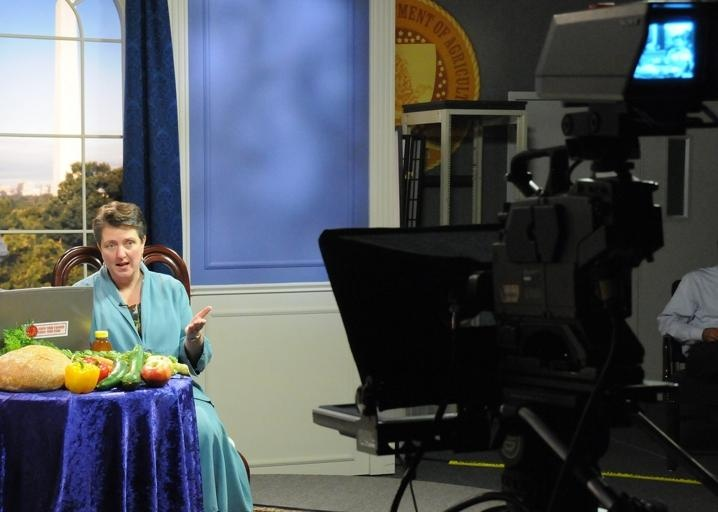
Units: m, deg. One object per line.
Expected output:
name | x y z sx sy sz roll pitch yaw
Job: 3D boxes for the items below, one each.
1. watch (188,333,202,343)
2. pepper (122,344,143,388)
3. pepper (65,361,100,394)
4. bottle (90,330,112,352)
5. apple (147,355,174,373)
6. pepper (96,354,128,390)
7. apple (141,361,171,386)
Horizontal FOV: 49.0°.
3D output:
watch | -0.834 0.414 3.953 0.051 0.027 0.038 -11 7 -35
pepper | -0.987 0.467 3.404 0.052 0.052 0.188 17 30 -12
pepper | -1.165 0.501 3.323 0.129 0.158 0.127 3 2 -4
bottle | -1.212 0.396 3.664 0.089 0.164 0.090 1 -1 0
apple | -0.893 0.465 3.462 0.078 0.074 0.079 3 7 -3
pepper | -1.067 0.501 3.373 0.093 0.064 0.257 7 24 -4
apple | -0.887 0.509 3.402 0.104 0.075 0.097 -1 7 3
